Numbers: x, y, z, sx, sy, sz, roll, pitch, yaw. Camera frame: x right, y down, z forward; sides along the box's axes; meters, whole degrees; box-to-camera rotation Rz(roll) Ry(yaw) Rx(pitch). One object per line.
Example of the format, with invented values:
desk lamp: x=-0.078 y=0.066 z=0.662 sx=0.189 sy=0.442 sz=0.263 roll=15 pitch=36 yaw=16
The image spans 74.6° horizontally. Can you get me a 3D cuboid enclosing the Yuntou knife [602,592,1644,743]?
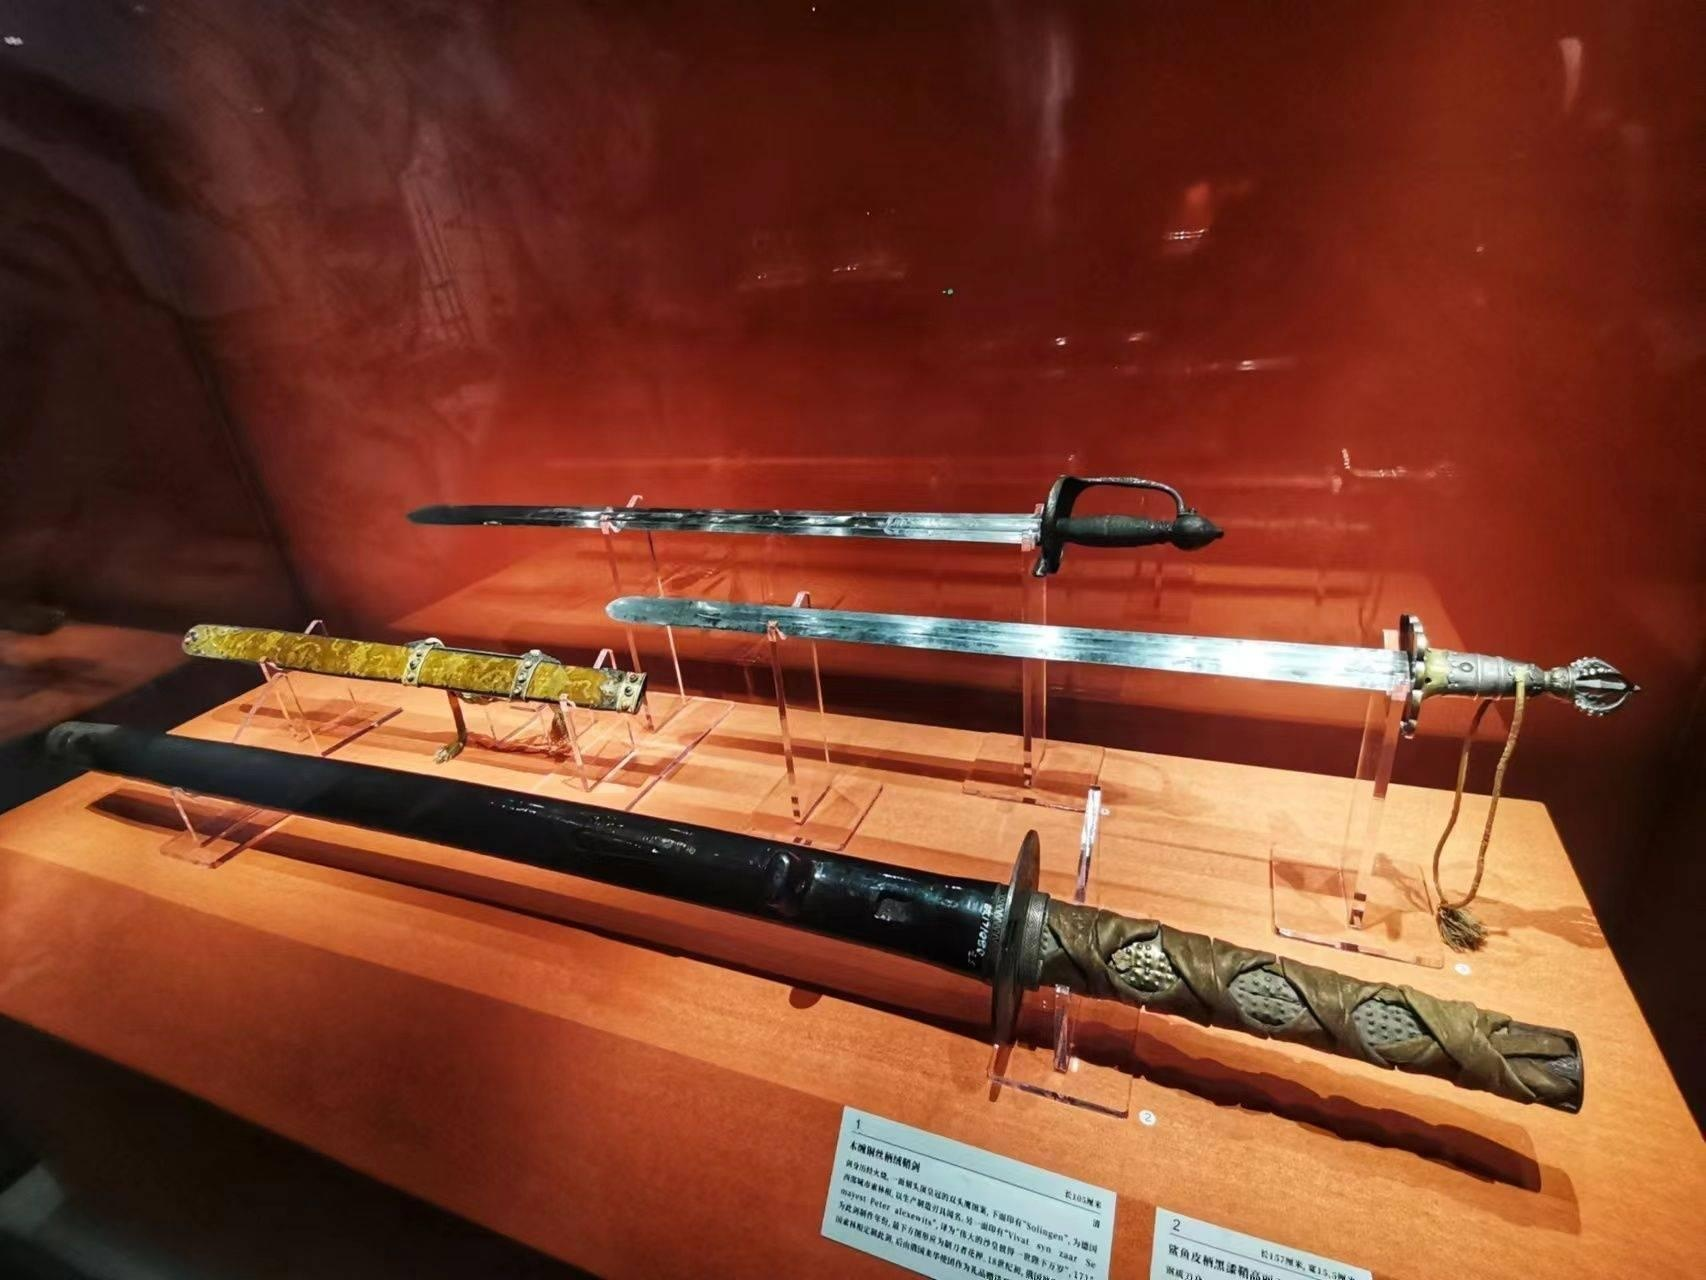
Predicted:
Yuntou knife: x=0.797 y=0.073 z=3.040 sx=2.149 sy=0.310 sz=0.143 roll=4 pitch=-72 yaw=19
